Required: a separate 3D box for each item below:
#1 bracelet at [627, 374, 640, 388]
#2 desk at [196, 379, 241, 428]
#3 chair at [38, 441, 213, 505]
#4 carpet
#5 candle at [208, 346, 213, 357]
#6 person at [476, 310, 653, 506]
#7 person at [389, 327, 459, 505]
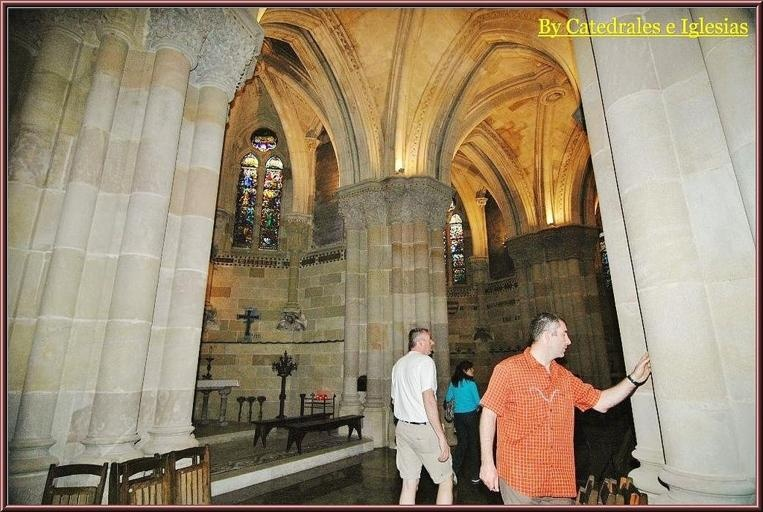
[{"bbox_3d":[2.312,1.136,4.222,0.141,0.058,0.103,0,-3,10],"label":"bracelet"},{"bbox_3d":[-4.355,3.864,12.271,1.342,1.099,0.484,-7,-21,25],"label":"desk"},{"bbox_3d":[-2.437,2.162,4.477,1.010,0.609,1.019,-11,-18,27],"label":"chair"},{"bbox_3d":[-2.248,3.635,8.743,2.360,0.160,3.707,-10,-16,22],"label":"carpet"},{"bbox_3d":[-5.163,2.901,14.094,0.150,0.317,0.105,3,-17,-23],"label":"candle"},{"bbox_3d":[1.473,1.333,4.105,1.372,1.620,0.469,-4,-15,1],"label":"person"},{"bbox_3d":[0.465,1.779,5.253,0.470,1.905,0.756,5,-18,-29],"label":"person"}]
